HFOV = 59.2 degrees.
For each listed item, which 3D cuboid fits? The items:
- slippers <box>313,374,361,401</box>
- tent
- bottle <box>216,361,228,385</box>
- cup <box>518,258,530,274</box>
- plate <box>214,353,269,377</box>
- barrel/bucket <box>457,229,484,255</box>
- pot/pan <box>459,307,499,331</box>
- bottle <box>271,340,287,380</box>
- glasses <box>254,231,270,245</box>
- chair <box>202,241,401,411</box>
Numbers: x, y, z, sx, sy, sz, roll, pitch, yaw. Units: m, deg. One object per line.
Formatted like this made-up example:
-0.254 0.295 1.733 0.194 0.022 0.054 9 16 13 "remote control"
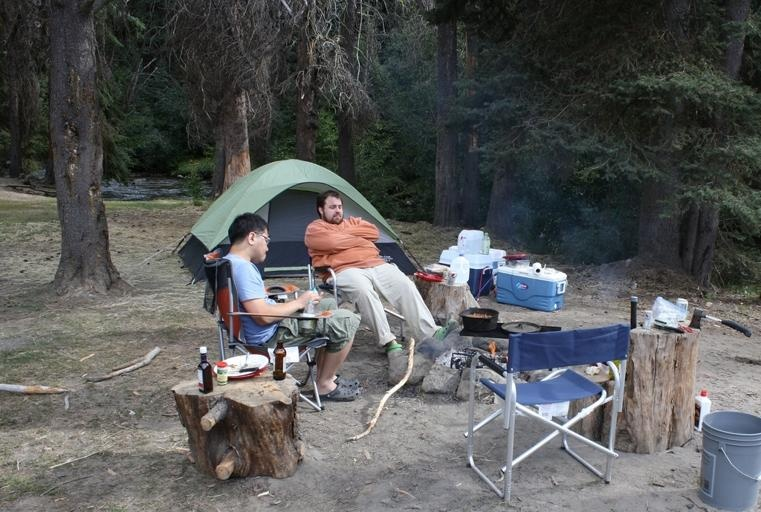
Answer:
-0.430 1.433 7.362 0.385 0.143 0.214 -3 16 -6 "slippers"
-1.046 -0.587 10.933 3.242 1.505 3.239 -1 4 -18 "tent"
-1.510 1.089 6.321 0.133 0.207 0.119 0 8 5 "bottle"
2.206 0.146 10.164 0.162 0.215 0.076 9 -5 -7 "cup"
-1.315 1.061 6.451 0.273 0.182 0.469 7 10 42 "plate"
1.441 -0.234 10.552 0.363 0.391 0.398 1 3 0 "barrel/bucket"
1.112 0.713 7.602 0.317 0.127 0.269 -4 5 33 "pot/pan"
-0.993 1.007 6.588 0.122 0.297 0.385 -1 8 -9 "bottle"
-1.206 -0.198 6.912 0.087 0.126 0.276 1 7 6 "glasses"
-1.007 0.579 7.703 1.781 2.070 1.562 -1 9 -13 "chair"
